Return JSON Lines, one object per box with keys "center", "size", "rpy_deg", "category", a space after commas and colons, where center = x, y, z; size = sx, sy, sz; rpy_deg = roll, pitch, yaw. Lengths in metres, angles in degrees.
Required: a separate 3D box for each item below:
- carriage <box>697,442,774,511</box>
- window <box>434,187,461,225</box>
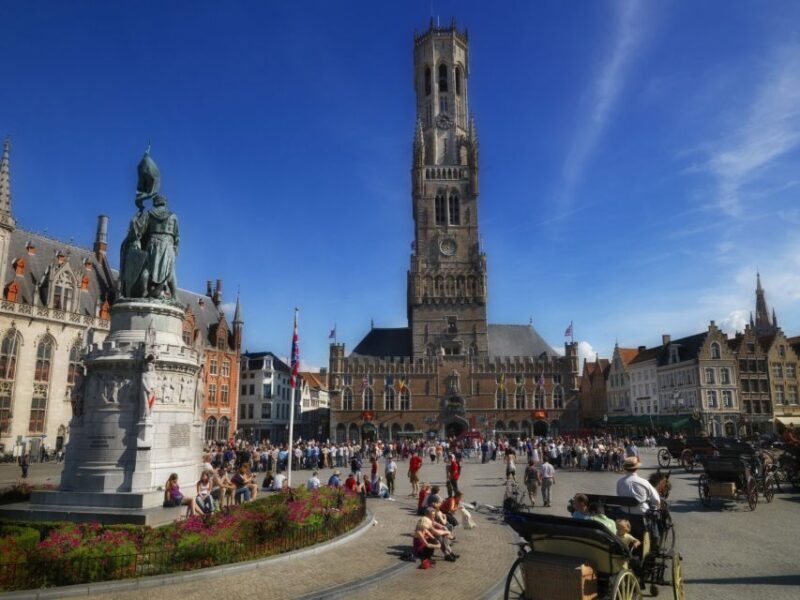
{"center": [12.780, 6.810, 24.083], "size": [1.703, 2.479, 5.419], "rpy_deg": [-8, -16, 37], "category": "carriage"}
{"center": [5.426, -10.590, 71.211], "size": [4.302, 5.903, 0.757], "rpy_deg": [1, -21, -2], "category": "window"}
